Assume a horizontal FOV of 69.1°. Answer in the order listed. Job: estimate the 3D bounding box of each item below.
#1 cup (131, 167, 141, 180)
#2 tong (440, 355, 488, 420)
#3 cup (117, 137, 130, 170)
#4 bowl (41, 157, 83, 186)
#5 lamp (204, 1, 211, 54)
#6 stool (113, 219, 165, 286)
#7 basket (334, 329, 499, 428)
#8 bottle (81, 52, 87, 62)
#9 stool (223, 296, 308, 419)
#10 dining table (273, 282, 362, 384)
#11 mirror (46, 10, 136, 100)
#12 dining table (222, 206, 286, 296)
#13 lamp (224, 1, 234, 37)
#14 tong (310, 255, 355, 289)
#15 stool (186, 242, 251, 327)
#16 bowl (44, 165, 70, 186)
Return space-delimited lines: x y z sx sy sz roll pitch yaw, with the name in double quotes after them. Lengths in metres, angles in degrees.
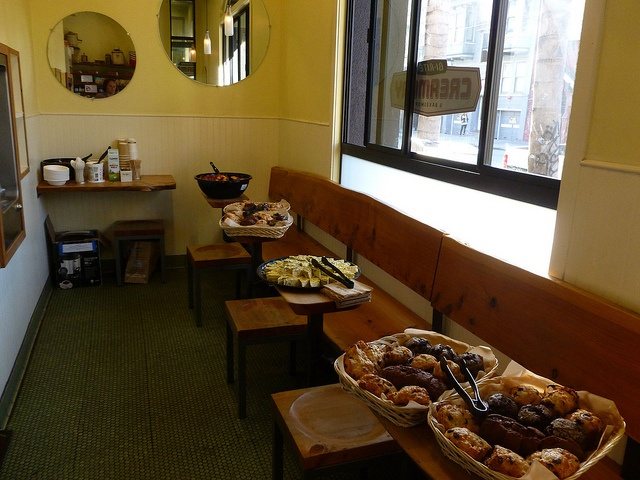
-1.885 -0.683 4.764 0.080 0.135 0.127 13 13 28 "cup"
0.463 0.463 1.584 0.077 0.061 0.279 0 32 -15 "tong"
-1.982 -0.861 4.724 0.114 0.281 0.171 -8 20 -22 "cup"
-2.582 -0.694 4.641 0.246 0.164 0.348 -3 14 -22 "bowl"
-1.190 -2.220 4.863 0.082 0.514 0.043 7 19 23 "lamp"
-1.848 0.107 4.980 0.589 0.672 0.634 -5 20 -24 "stool"
0.350 0.498 1.747 0.412 0.107 0.361 -10 22 -34 "basket"
-2.359 -1.832 4.669 0.061 0.077 0.013 -4 18 -10 "bottle"
-0.462 0.759 3.188 0.616 0.706 0.678 0 18 -16 "stool"
-0.059 0.493 2.534 0.492 0.521 0.516 0 16 -10 "dining table"
-2.292 -1.865 4.682 0.807 0.916 0.016 -9 50 -30 "mirror"
-0.500 0.077 3.566 0.492 0.669 0.559 2 30 -8 "dining table"
-0.959 -2.322 4.888 0.105 0.338 0.029 -14 22 -36 "lamp"
0.056 0.167 2.373 0.085 0.068 0.359 -12 32 -24 "tong"
-0.924 0.356 4.144 0.649 0.769 0.656 -1 13 -14 "stool"
-2.522 -0.630 4.446 0.199 0.154 0.208 9 15 -3 "bowl"
